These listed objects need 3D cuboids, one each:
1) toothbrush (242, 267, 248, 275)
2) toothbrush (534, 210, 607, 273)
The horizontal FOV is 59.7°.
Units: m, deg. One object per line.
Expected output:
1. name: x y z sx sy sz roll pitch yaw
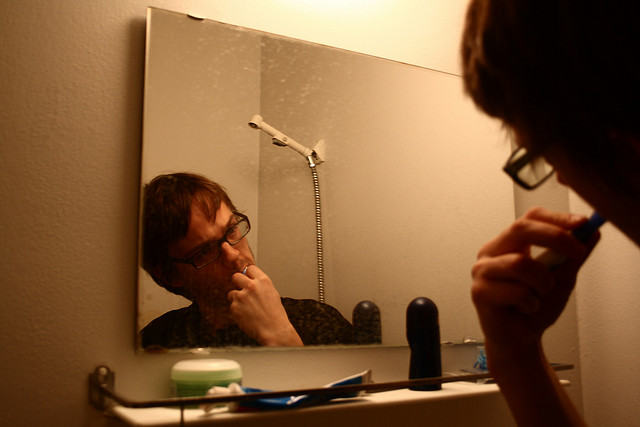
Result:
1. toothbrush: -0.157 0.119 1.167 0.009 0.013 0.001 1 -7 -21
2. toothbrush: 0.440 0.050 0.954 0.041 0.055 0.206 -29 -13 -26
